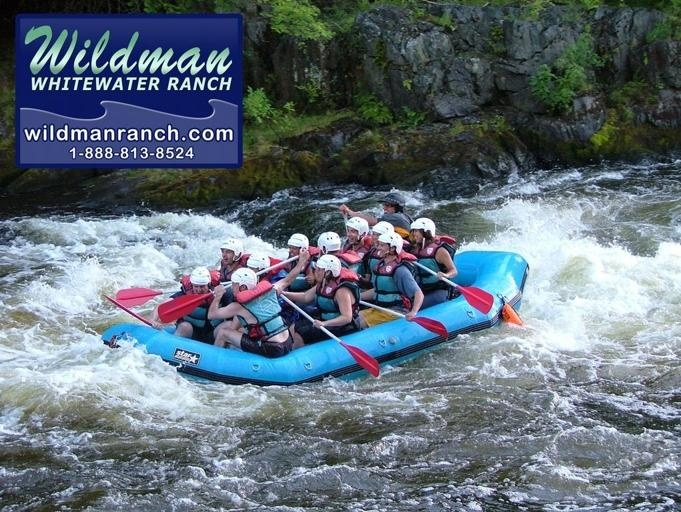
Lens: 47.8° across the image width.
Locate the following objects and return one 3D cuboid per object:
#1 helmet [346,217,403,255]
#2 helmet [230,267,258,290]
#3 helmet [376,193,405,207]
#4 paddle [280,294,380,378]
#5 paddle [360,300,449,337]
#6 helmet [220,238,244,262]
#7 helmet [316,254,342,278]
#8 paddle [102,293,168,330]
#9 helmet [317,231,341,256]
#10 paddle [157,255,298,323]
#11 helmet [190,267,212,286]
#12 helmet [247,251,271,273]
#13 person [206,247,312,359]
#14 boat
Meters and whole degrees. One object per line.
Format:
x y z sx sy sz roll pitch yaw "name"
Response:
0.357 -0.273 10.546 0.599 0.576 0.367 18 2 18 "helmet"
-1.154 0.265 9.343 0.367 0.221 0.232 -4 32 -4 "helmet"
0.781 -0.847 11.544 0.356 0.133 0.222 12 8 10 "helmet"
-0.237 0.955 10.031 0.286 0.116 2.270 1 24 -42 "paddle"
0.840 0.836 10.073 1.519 0.162 0.077 14 30 6 "paddle"
-1.481 -0.115 10.419 0.321 0.261 0.374 -2 -6 34 "helmet"
-0.139 0.128 9.649 0.305 0.279 0.165 -1 11 10 "helmet"
-2.858 0.785 10.634 1.194 0.076 0.153 24 3 -20 "paddle"
-0.187 -0.169 10.114 0.299 0.250 0.329 -12 29 -22 "helmet"
-1.442 0.463 10.086 2.670 0.315 0.194 -18 2 -6 "paddle"
-1.790 0.273 9.865 0.249 0.170 0.275 1 -6 -6 "helmet"
-1.060 0.072 10.114 0.348 0.213 0.206 -15 41 -14 "helmet"
-1.032 0.647 9.805 1.230 1.164 0.904 -23 51 -34 "person"
0.396 1.009 10.104 4.792 0.588 2.158 -10 17 -23 "boat"
